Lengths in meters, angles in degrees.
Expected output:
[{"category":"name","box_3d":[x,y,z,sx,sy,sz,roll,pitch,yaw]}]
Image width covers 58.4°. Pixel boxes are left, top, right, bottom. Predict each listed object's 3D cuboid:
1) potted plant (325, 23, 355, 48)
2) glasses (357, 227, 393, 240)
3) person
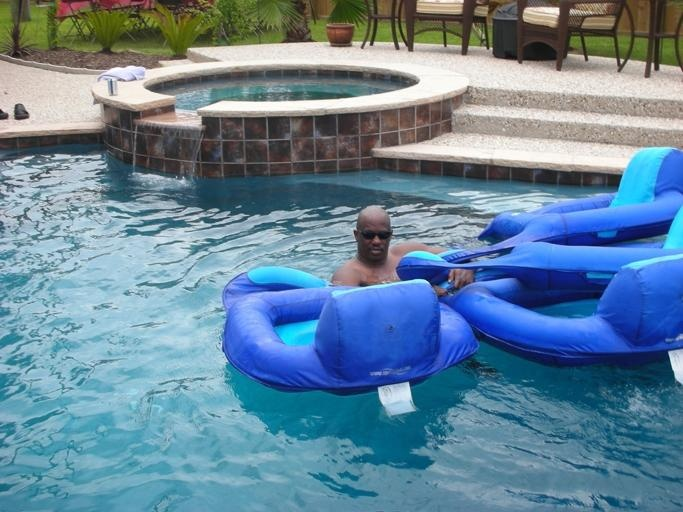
[{"category":"potted plant","box_3d":[-0.048,-4.922,13.802,0.796,0.352,0.590,-1,21,-1]},{"category":"glasses","box_3d":[0.243,-0.151,4.502,0.234,0.079,0.079,0,15,-1]},{"category":"person","box_3d":[0.427,-0.007,4.607,1.103,0.384,0.939,-20,32,-33]}]
